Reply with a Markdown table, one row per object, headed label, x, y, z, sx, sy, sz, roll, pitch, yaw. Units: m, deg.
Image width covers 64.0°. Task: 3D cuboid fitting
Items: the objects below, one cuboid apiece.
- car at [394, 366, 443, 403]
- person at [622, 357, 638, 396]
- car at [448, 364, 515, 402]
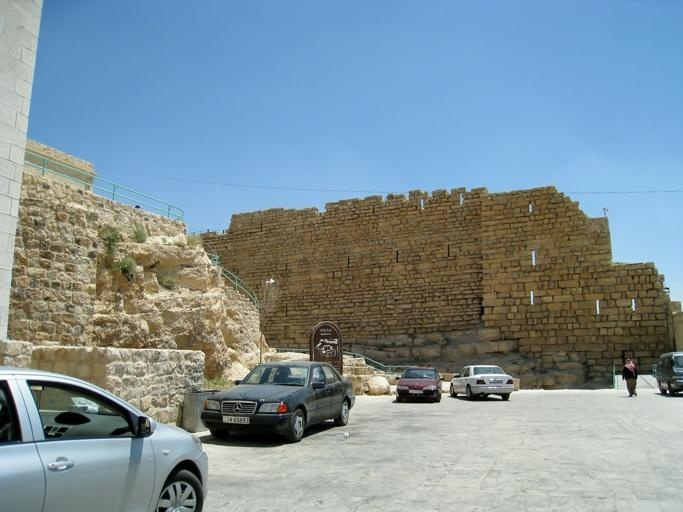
| label | x | y | z | sx | sy | sz | roll | pitch | yaw |
| --- | --- | --- | --- | --- | --- | --- | --- | --- | --- |
| car | 2.819 | 4.715 | 19.763 | 1.464 | 0.977 | 2.858 | -3 | -19 | 9 |
| person | 10.608 | 4.481 | 20.036 | 0.409 | 1.311 | 1.329 | -8 | -12 | 25 |
| car | 5.136 | 4.797 | 20.764 | 1.236 | 0.746 | 2.578 | 1 | -9 | -4 |
